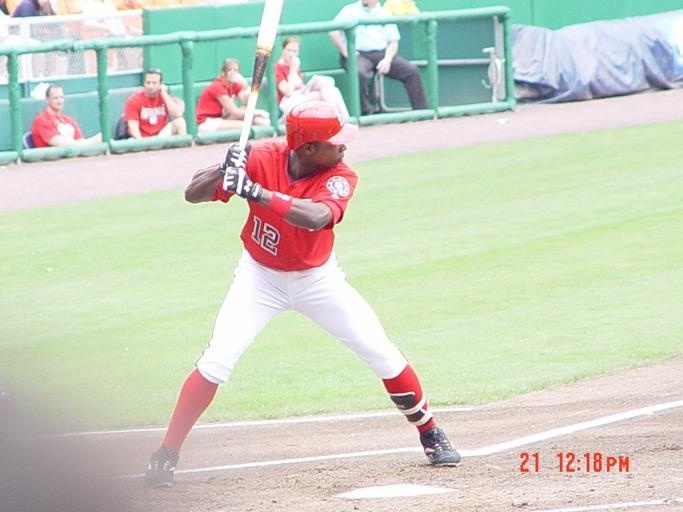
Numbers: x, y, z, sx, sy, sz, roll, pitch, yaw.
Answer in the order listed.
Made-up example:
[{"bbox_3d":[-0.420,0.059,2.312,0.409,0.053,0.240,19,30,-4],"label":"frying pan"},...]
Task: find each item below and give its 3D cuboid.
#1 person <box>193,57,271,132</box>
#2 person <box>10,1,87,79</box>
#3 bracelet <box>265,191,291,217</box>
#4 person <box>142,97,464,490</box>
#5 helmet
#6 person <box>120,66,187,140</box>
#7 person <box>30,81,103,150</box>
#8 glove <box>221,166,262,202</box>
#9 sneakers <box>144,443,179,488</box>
[{"bbox_3d":[-1.223,-1.842,13.417,1.020,0.800,0.630,0,8,22],"label":"person"},{"bbox_3d":[-3.401,-2.494,13.232,1.154,0.928,0.263,-8,-3,-37],"label":"person"},{"bbox_3d":[-0.359,-0.295,6.419,0.114,0.115,0.130,1,1,-10],"label":"bracelet"},{"bbox_3d":[-0.285,0.233,6.744,1.708,2.213,0.480,-5,10,4],"label":"person"},{"bbox_3d":[-0.153,-0.781,6.710,0.506,0.211,0.305,-6,29,-20],"label":"helmet"},{"bbox_3d":[-2.048,-1.628,13.112,0.820,0.787,0.685,4,20,-4],"label":"person"},{"bbox_3d":[-2.952,-1.450,12.728,1.000,0.757,0.599,6,14,5],"label":"person"},{"bbox_3d":[-0.567,-0.409,6.542,0.217,0.205,0.256,-6,8,-6],"label":"glove"},{"bbox_3d":[-1.060,1.217,6.772,0.158,0.258,0.119,14,9,-16],"label":"sneakers"}]
